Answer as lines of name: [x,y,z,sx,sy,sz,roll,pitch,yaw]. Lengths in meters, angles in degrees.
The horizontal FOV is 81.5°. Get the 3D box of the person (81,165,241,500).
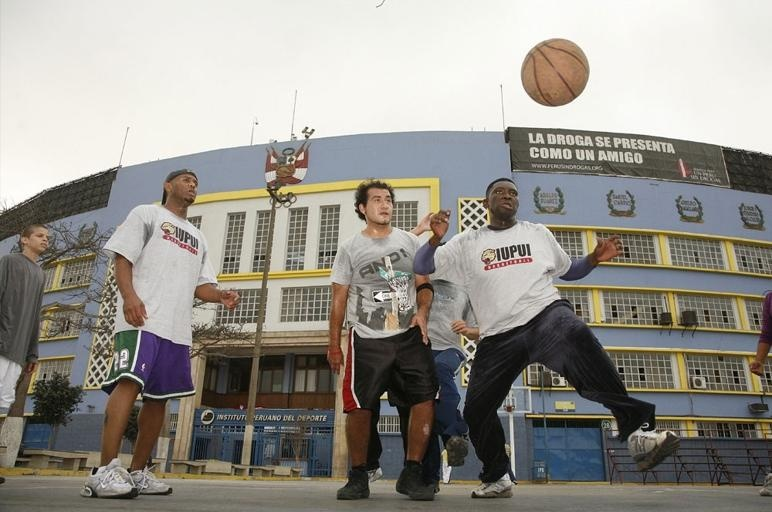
person: [-1.987,0.587,4.055,0.983,2.842,0.947,-14,-21,23]

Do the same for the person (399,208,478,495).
person: [0.728,1.093,5.099,0.925,2.588,0.678,-7,2,-21]

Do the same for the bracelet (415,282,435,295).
bracelet: [0.374,0.322,4.493,0.119,0.099,0.122,-17,-39,40]

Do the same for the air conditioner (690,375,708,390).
air conditioner: [13.429,5.430,19.224,0.631,0.525,0.318,10,-24,-21]
